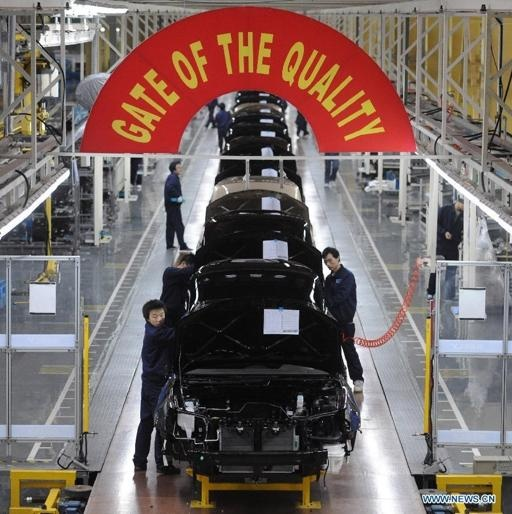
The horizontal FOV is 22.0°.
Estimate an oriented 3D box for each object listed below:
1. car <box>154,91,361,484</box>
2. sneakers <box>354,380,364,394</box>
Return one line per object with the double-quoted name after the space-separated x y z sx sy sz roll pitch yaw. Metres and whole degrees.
0.061 0.613 15.432 1.379 2.343 4.890 1 43 1 "car"
1.242 1.608 16.119 0.135 0.211 0.126 2 -13 0 "sneakers"
